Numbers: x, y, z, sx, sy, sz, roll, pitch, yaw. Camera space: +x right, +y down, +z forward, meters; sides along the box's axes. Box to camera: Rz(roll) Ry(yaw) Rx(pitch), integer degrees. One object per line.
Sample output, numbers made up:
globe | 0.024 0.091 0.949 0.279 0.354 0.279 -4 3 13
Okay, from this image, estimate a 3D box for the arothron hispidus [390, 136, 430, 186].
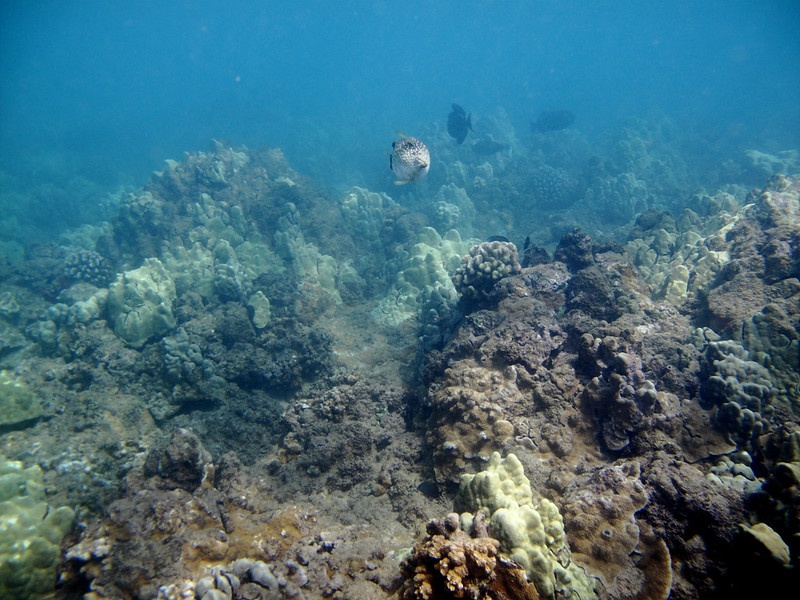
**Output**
arothron hispidus | 0.120 -2.877 13.532 0.428 1.457 0.625 -13 -43 -9
